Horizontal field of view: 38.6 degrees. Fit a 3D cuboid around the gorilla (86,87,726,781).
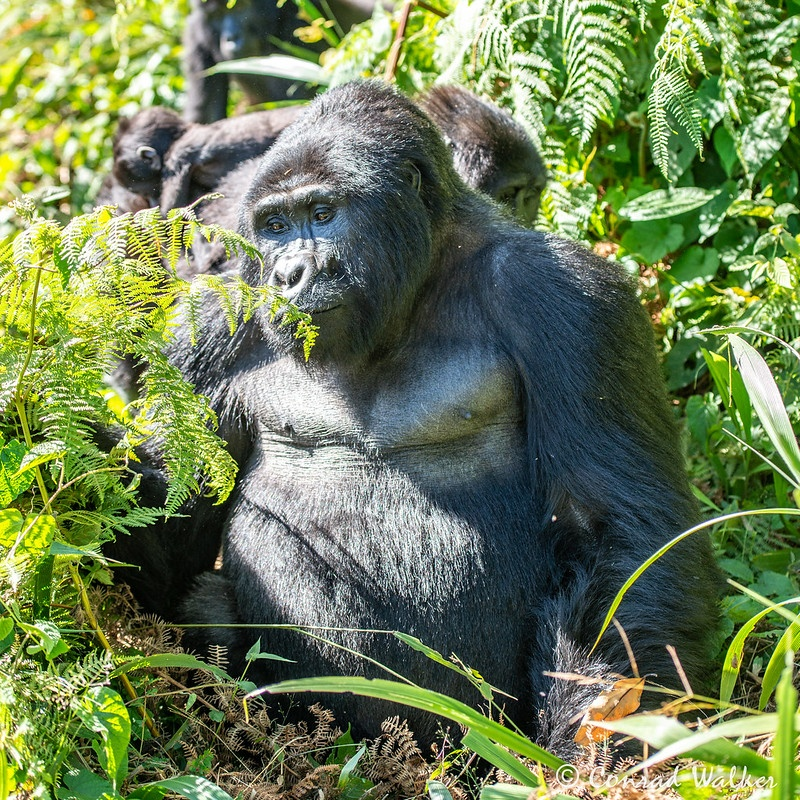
[{"bbox_3d":[-0.182,0.164,3.440,2.256,1.931,1.083,-1,8,22],"label":"gorilla"}]
